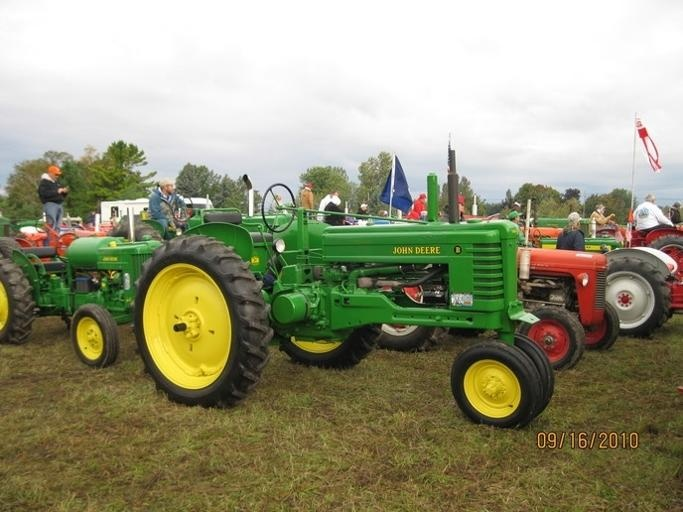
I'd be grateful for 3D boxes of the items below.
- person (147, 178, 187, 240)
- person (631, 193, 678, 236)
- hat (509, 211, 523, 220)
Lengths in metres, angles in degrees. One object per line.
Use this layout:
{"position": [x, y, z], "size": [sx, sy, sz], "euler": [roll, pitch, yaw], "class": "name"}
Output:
{"position": [-3.051, -0.717, 8.506], "size": [0.728, 1.317, 0.583], "euler": [-8, 0, 45], "class": "person"}
{"position": [6.472, -0.941, 9.944], "size": [0.966, 0.743, 0.705], "euler": [-21, 23, -37], "class": "person"}
{"position": [3.503, -0.802, 9.584], "size": [0.273, 0.135, 0.197], "euler": [-26, 13, -21], "class": "hat"}
